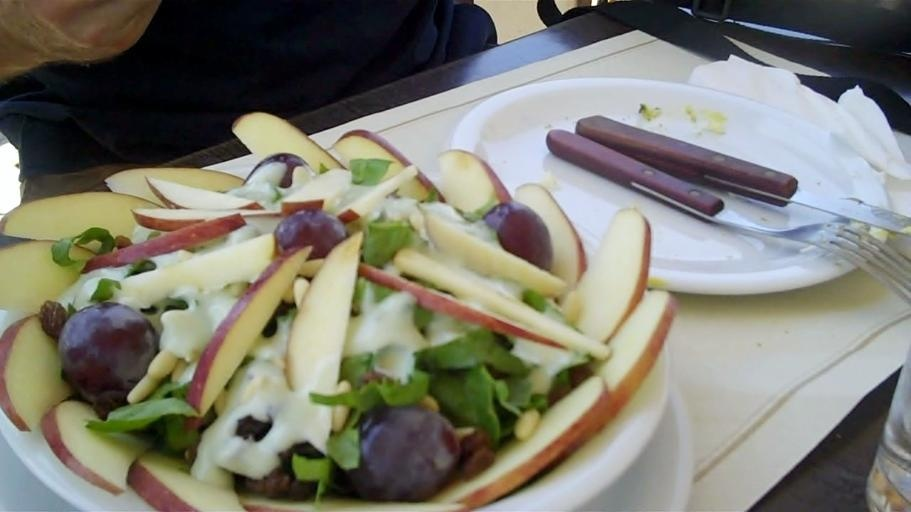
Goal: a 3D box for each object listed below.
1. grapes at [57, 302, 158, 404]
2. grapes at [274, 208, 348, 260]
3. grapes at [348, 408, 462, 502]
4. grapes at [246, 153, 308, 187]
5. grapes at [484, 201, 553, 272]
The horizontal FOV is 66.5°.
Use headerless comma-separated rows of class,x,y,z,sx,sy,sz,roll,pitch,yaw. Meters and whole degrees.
grapes,-0.505,0.135,1.008,0.119,0.136,0.155,8,104,42
grapes,-0.211,-0.035,1.013,0.077,0.048,0.076,13,31,23
grapes,-0.073,0.274,0.962,0.153,0.079,0.115,-7,58,11
grapes,-0.287,-0.144,1.102,0.070,0.041,0.061,-2,35,-1
grapes,0.103,-0.035,1.069,0.110,0.086,0.065,39,90,21
